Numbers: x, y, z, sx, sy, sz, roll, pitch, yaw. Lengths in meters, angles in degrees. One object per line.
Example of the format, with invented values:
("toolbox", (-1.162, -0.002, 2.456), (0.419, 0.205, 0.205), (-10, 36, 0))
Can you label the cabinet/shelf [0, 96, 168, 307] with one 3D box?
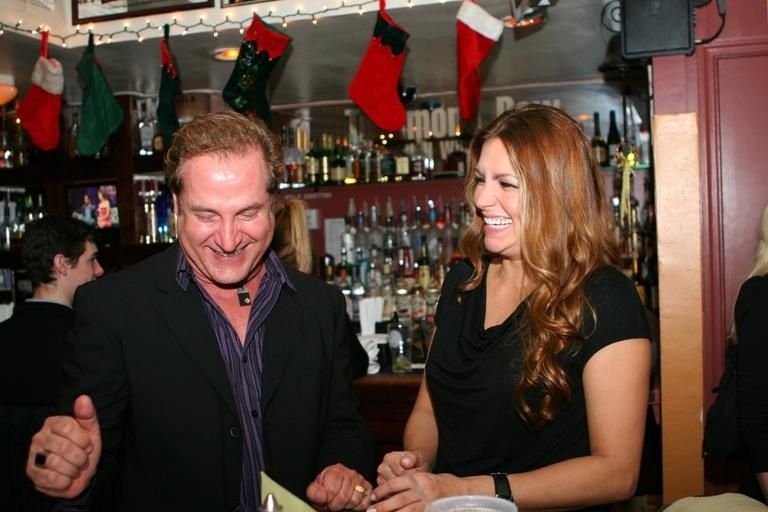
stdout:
("cabinet/shelf", (-1.960, -0.389, 4.601), (1.565, 1.494, 0.511), (-1, 2, 9))

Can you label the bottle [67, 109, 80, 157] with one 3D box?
("bottle", (-2.391, -0.931, 5.440), (0.106, 0.364, 0.106), (5, 6, -1))

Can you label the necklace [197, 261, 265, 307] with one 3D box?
("necklace", (-0.603, 0.128, 2.775), (0.169, 0.094, 0.214), (2, -29, -6))

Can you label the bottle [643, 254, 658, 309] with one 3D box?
("bottle", (1.762, 0.186, 4.569), (0.094, 0.411, 0.095), (-11, 27, 6))

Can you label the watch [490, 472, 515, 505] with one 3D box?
("watch", (0.439, 0.858, 2.596), (0.084, 0.089, 0.088), (-6, 0, -2))

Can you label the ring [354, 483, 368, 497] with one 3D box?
("ring", (-0.083, 0.870, 2.611), (0.046, 0.040, 0.060), (-2, 5, -3))
